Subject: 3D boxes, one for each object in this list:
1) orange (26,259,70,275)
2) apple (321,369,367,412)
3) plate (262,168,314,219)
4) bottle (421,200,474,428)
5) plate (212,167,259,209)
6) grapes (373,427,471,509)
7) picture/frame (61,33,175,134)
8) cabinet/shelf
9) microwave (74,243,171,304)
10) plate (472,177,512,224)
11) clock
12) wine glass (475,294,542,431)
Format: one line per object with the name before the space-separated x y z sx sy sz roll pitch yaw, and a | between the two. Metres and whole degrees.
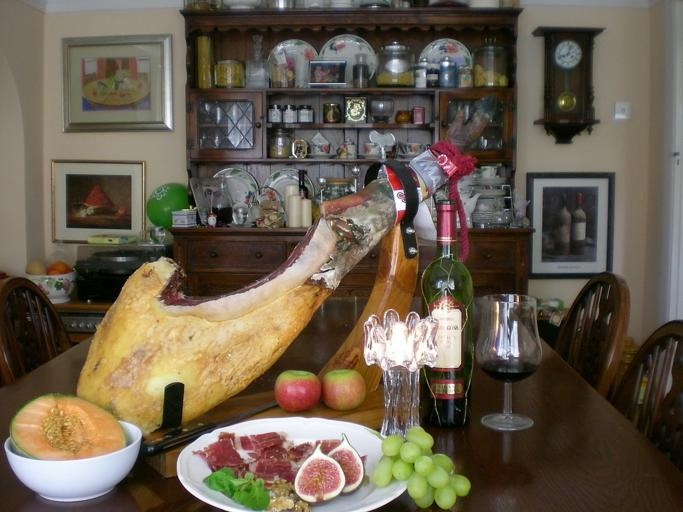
orange | -1.664 0.077 3.459 0.208 0.103 0.128 6 -6 -24
apple | 0.003 0.251 1.138 0.081 0.080 0.085 0 9 24
plate | -0.354 -0.389 3.568 0.244 0.257 0.041 24 -1 -3
bottle | 0.195 0.096 1.089 0.095 0.393 0.100 0 2 0
plate | -0.595 -0.405 3.608 0.074 0.245 0.237 7 13 44
grapes | 0.126 0.311 0.894 0.154 0.106 0.085 -6 10 -23
picture/frame | -1.356 -1.028 3.668 0.692 0.552 0.085 0 9 9
cabinet/shelf | 0.050 -0.582 3.367 1.853 1.512 0.593 -1 9 3
microwave | -1.226 0.068 3.486 0.533 0.408 0.443 -3 10 -13
plate | 0.825 -0.306 3.449 0.246 0.254 0.249 0 5 9
clock | 1.302 -0.971 3.479 0.311 0.641 0.133 3 8 10
wine glass | 0.305 0.192 1.144 0.110 0.236 0.120 0 2 8
